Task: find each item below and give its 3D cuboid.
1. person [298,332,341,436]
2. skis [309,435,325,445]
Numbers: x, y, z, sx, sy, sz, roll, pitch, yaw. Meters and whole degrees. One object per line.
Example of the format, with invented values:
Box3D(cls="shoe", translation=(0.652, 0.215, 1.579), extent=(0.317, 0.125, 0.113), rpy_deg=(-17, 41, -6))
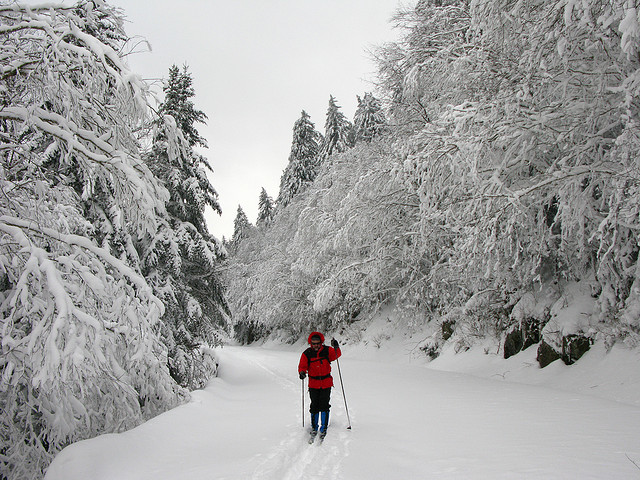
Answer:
Box3D(cls="person", translation=(-0.004, 2.537, 9.205), extent=(0.762, 1.688, 0.971), rpy_deg=(-3, 2, 1))
Box3D(cls="skis", translation=(-0.069, 3.375, 8.589), extent=(0.230, 0.064, 0.240), rpy_deg=(-4, 1, 15))
